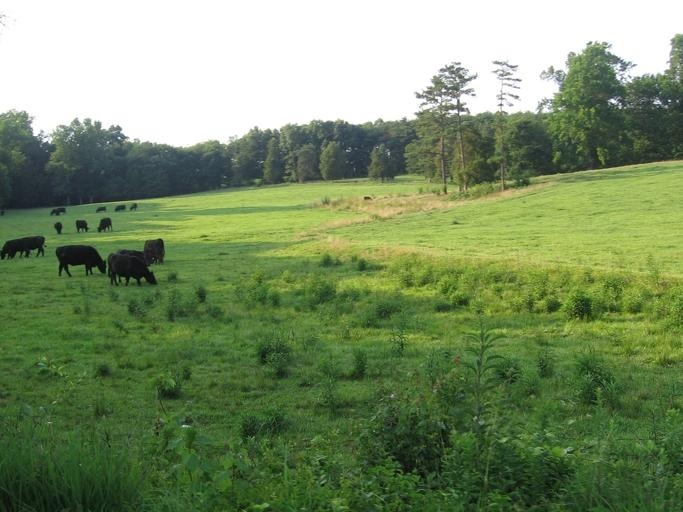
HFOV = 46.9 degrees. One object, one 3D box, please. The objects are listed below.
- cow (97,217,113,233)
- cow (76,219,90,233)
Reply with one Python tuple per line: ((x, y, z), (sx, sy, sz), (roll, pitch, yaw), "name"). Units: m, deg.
((-19.688, -2.580, 65.008), (1.067, 1.136, 3.520), (-5, 11, -16), "cow")
((-21.532, -2.478, 64.437), (1.289, 1.250, 1.077), (-3, 5, -9), "cow")
